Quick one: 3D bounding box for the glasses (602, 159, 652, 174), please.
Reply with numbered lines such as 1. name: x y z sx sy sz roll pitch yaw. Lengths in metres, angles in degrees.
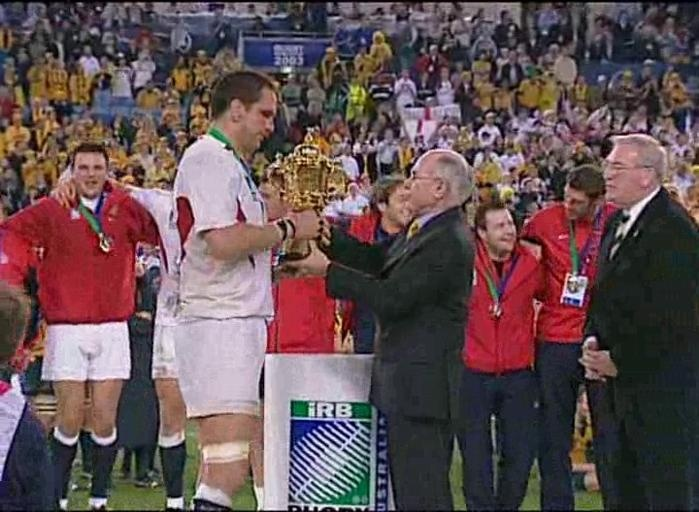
1. glasses: 2.832 -0.926 15.102 0.489 0.104 0.148 0 4 15
